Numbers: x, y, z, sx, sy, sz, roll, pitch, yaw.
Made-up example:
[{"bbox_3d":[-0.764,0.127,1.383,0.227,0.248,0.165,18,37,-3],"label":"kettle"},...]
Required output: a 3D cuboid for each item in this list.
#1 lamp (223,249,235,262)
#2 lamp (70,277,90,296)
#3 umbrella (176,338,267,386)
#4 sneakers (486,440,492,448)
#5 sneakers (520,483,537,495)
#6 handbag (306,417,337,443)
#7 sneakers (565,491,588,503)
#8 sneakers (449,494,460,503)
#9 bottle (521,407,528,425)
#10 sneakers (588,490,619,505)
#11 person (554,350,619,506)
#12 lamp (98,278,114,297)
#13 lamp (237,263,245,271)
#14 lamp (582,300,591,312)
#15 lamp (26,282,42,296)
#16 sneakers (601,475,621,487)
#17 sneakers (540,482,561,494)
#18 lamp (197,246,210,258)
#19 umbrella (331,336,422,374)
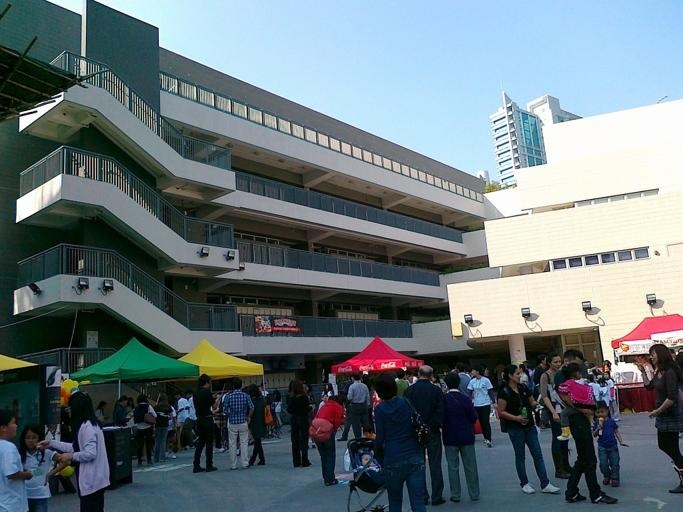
[{"bbox_3d":[-4.887,-0.062,26.253,0.427,0.568,0.317,18,-15,-32],"label":"lamp"},{"bbox_3d":[-8.635,0.972,20.205,0.560,0.571,0.375,6,-20,-30],"label":"lamp"},{"bbox_3d":[-3.730,3.480,19.670,1.849,0.720,1.760,11,-21,-29],"label":"umbrella"},{"bbox_3d":[3.715,4.733,15.215,0.096,0.118,0.273,-7,-25,12],"label":"sneakers"},{"bbox_3d":[3.061,3.832,9.955,0.145,0.159,0.391,-4,-15,9],"label":"sneakers"},{"bbox_3d":[-0.344,3.453,12.255,0.613,0.554,0.412,6,-17,12],"label":"handbag"},{"bbox_3d":[3.580,3.667,9.254,0.385,0.142,0.130,1,-7,-20],"label":"sneakers"},{"bbox_3d":[1.860,3.949,9.880,0.174,0.110,0.178,-6,-17,4],"label":"sneakers"},{"bbox_3d":[2.976,2.567,9.836,0.151,0.232,0.044,9,-22,-36],"label":"bottle"},{"bbox_3d":[3.877,3.591,9.004,0.319,0.127,0.177,-5,-2,15],"label":"sneakers"},{"bbox_3d":[3.650,2.688,9.332,0.729,2.109,0.755,-9,-19,16],"label":"person"},{"bbox_3d":[-8.025,1.046,20.876,0.486,0.514,0.295,11,-23,-39],"label":"lamp"},{"bbox_3d":[-4.493,0.462,27.137,0.171,0.295,0.338,-6,-11,27],"label":"lamp"},{"bbox_3d":[11.750,2.379,29.068,0.452,0.535,0.336,-10,-19,19],"label":"lamp"},{"bbox_3d":[-10.363,1.089,20.558,0.354,0.481,0.119,-42,-3,33],"label":"lamp"},{"bbox_3d":[4.435,3.728,9.967,0.109,0.118,0.286,7,-18,-10],"label":"sneakers"},{"bbox_3d":[3.383,3.732,9.735,0.309,0.122,0.117,5,-10,-40],"label":"sneakers"},{"bbox_3d":[-5.670,-0.159,25.307,0.507,0.469,0.402,12,-23,-41],"label":"lamp"},{"bbox_3d":[1.670,4.365,24.816,2.380,1.026,2.377,-9,-21,27],"label":"umbrella"}]
